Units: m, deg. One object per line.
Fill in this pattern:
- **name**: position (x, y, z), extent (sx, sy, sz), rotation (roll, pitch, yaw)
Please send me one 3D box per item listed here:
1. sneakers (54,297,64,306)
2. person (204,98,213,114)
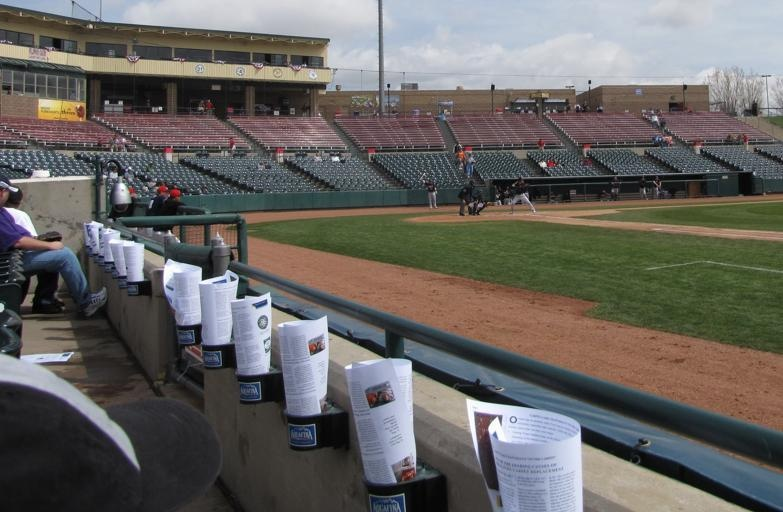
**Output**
- **sneakers**: position (-4.392, 0.608, 8.213), extent (0.074, 0.087, 0.117), rotation (-35, 1, -29)
- **person**: position (-12.819, -10.391, 43.507), extent (0.530, 0.942, 1.423), rotation (-6, 12, -17)
